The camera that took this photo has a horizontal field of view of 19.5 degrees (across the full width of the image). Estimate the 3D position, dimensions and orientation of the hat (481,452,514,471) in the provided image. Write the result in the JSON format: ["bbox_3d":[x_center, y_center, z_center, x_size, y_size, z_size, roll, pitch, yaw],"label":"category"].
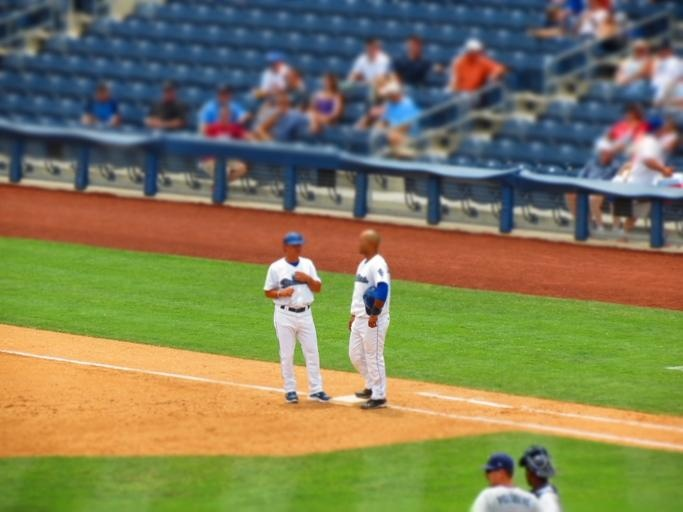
[{"bbox_3d":[2.149,2.827,26.919,0.320,0.174,0.232,7,-1,3],"label":"hat"}]

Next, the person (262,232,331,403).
[{"bbox_3d":[-0.700,0.944,30.242,0.947,2.593,0.452,0,3,-1],"label":"person"}]

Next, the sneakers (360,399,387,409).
[{"bbox_3d":[0.485,2.260,30.136,0.416,0.187,0.145,3,2,-8],"label":"sneakers"}]

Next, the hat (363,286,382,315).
[{"bbox_3d":[0.439,0.707,29.939,0.368,0.326,0.281,12,7,16],"label":"hat"}]

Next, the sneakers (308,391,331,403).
[{"bbox_3d":[-0.335,2.169,30.214,0.334,0.150,0.140,1,5,8],"label":"sneakers"}]

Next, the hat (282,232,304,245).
[{"bbox_3d":[-0.781,-0.254,30.156,0.206,0.133,0.262,-4,-1,-32],"label":"hat"}]

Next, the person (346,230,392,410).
[{"bbox_3d":[0.419,0.978,30.124,0.637,2.708,0.429,0,3,16],"label":"person"}]

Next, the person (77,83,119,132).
[{"bbox_3d":[-4.913,-3.075,40.393,0.646,0.878,0.958,-2,3,-34],"label":"person"}]

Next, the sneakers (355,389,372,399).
[{"bbox_3d":[0.344,2.139,30.331,0.296,0.123,0.107,2,2,2],"label":"sneakers"}]

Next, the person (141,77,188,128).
[{"bbox_3d":[-3.509,-3.016,39.659,1.139,1.287,0.786,0,-8,1],"label":"person"}]

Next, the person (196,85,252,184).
[{"bbox_3d":[-2.312,-2.387,38.666,1.079,1.857,0.967,0,3,6],"label":"person"}]

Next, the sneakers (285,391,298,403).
[{"bbox_3d":[-0.758,2.163,30.174,0.209,0.192,0.207,0,3,-4],"label":"sneakers"}]
